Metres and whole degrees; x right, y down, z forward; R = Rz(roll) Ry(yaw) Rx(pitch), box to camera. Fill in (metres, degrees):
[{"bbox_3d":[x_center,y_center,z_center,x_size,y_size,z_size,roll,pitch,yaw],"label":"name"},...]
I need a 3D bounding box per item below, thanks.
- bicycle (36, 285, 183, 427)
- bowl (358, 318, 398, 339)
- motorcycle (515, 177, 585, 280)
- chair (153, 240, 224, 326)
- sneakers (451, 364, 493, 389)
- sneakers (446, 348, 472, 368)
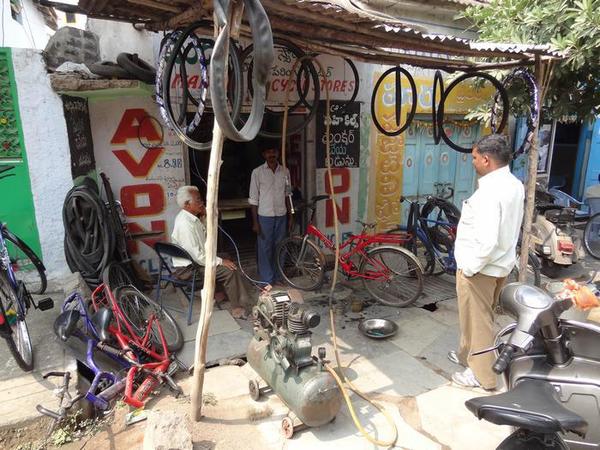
[{"bbox_3d":[-1.912,1.211,4.742,1.031,0.476,1.467,-17,41,-31],"label":"bicycle"},{"bbox_3d":[0.966,1.304,5.653,0.453,0.129,0.418,-1,13,0],"label":"bowl"},{"bbox_3d":[4.170,-0.055,7.828,0.745,1.370,2.218,2,13,7],"label":"motorcycle"},{"bbox_3d":[-1.524,0.680,6.018,0.593,1.088,0.773,9,16,26],"label":"chair"},{"bbox_3d":[1.794,1.626,4.784,0.154,0.212,0.425,-7,15,-33],"label":"sneakers"},{"bbox_3d":[1.781,1.499,5.100,0.087,0.098,0.230,-6,5,-13],"label":"sneakers"}]
